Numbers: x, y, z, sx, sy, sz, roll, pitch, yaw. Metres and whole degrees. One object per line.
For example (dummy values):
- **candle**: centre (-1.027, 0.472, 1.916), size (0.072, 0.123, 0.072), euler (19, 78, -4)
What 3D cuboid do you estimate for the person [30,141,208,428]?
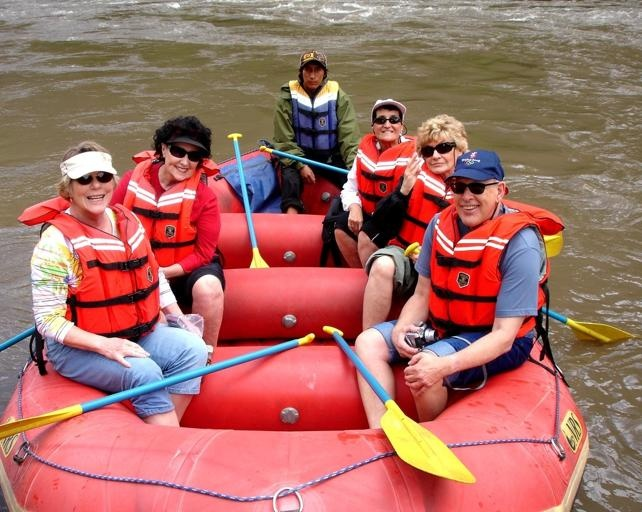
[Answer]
- **person**: centre (-0.972, 0.172, 3.213), size (0.882, 1.334, 0.716), euler (9, 16, 24)

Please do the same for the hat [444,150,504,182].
- **hat**: centre (0.722, -0.419, 3.002), size (0.218, 0.098, 0.154), euler (4, 1, -37)

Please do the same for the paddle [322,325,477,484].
- **paddle**: centre (0.315, 0.651, 2.913), size (0.180, 0.099, 1.105), euler (7, 9, -20)

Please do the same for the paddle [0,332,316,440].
- **paddle**: centre (-0.738, 0.622, 3.072), size (1.900, 0.182, 0.203), euler (-8, 52, -34)

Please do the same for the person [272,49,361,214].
- **person**: centre (-0.074, -1.154, 5.622), size (0.873, 1.021, 1.420), euler (-1, 32, -5)

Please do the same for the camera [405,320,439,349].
- **camera**: centre (0.489, 0.382, 3.146), size (0.119, 0.071, 0.124), euler (-19, 4, 38)

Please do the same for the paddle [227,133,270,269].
- **paddle**: centre (-0.584, -0.471, 5.072), size (0.330, 0.116, 1.608), euler (0, 36, -17)

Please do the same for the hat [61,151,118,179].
- **hat**: centre (-1.061, -0.409, 2.978), size (0.225, 0.128, 0.145), euler (-12, 33, -19)

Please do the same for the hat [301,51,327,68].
- **hat**: centre (-0.059, -1.711, 5.619), size (0.197, 0.133, 0.250), euler (-1, -6, 4)
